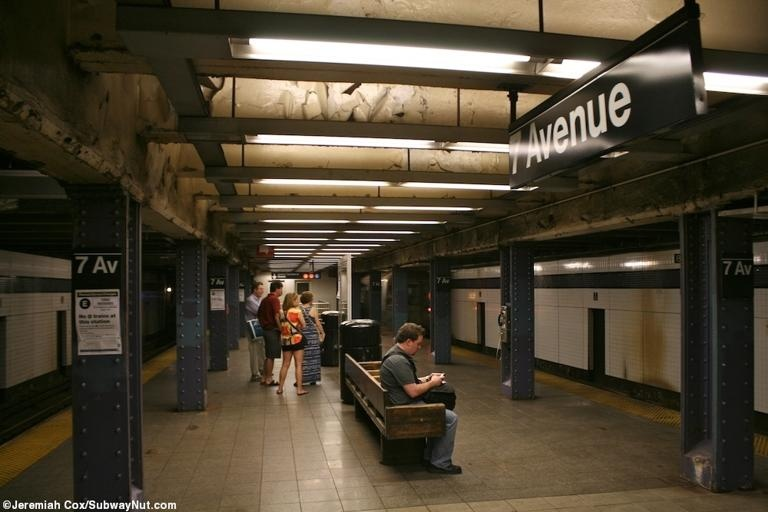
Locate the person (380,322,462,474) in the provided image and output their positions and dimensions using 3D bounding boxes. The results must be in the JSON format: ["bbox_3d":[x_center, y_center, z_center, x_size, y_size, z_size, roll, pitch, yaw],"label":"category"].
[{"bbox_3d":[0.496,1.930,7.983,1.094,1.957,0.684,0,2,-1],"label":"person"}]

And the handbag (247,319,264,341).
[{"bbox_3d":[-3.004,1.722,13.653,0.581,0.551,0.208,1,-13,-30],"label":"handbag"}]

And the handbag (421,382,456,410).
[{"bbox_3d":[0.730,1.887,7.881,0.430,0.164,0.308,0,5,-12],"label":"handbag"}]

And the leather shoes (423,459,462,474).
[{"bbox_3d":[0.805,2.816,7.918,0.445,0.196,0.181,-2,-4,-5],"label":"leather shoes"}]

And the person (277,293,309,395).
[{"bbox_3d":[-1.929,1.799,12.166,0.565,2.081,1.006,0,2,-9],"label":"person"}]
